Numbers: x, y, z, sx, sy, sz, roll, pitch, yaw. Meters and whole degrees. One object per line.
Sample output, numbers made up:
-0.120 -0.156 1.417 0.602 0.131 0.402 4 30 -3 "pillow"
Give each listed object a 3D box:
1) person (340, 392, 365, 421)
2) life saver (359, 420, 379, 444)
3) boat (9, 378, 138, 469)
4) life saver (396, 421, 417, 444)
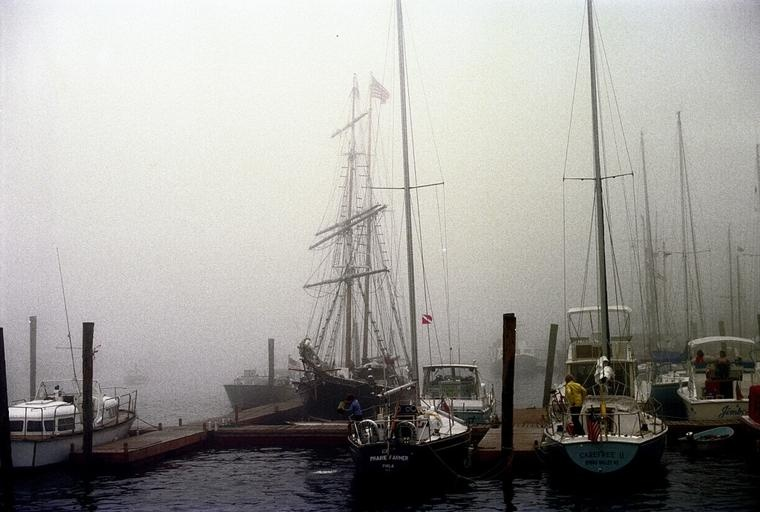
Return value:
-1.402 7.242 41.474 0.902 1.379 2.237 -2 8 -1 "person"
-0.491 8.152 39.667 0.806 1.132 0.418 -2 -2 24 "life saver"
-15.812 9.183 46.206 3.557 3.598 8.163 -1 -1 12 "boat"
1.161 7.946 38.807 0.880 0.915 0.493 -1 8 0 "life saver"
